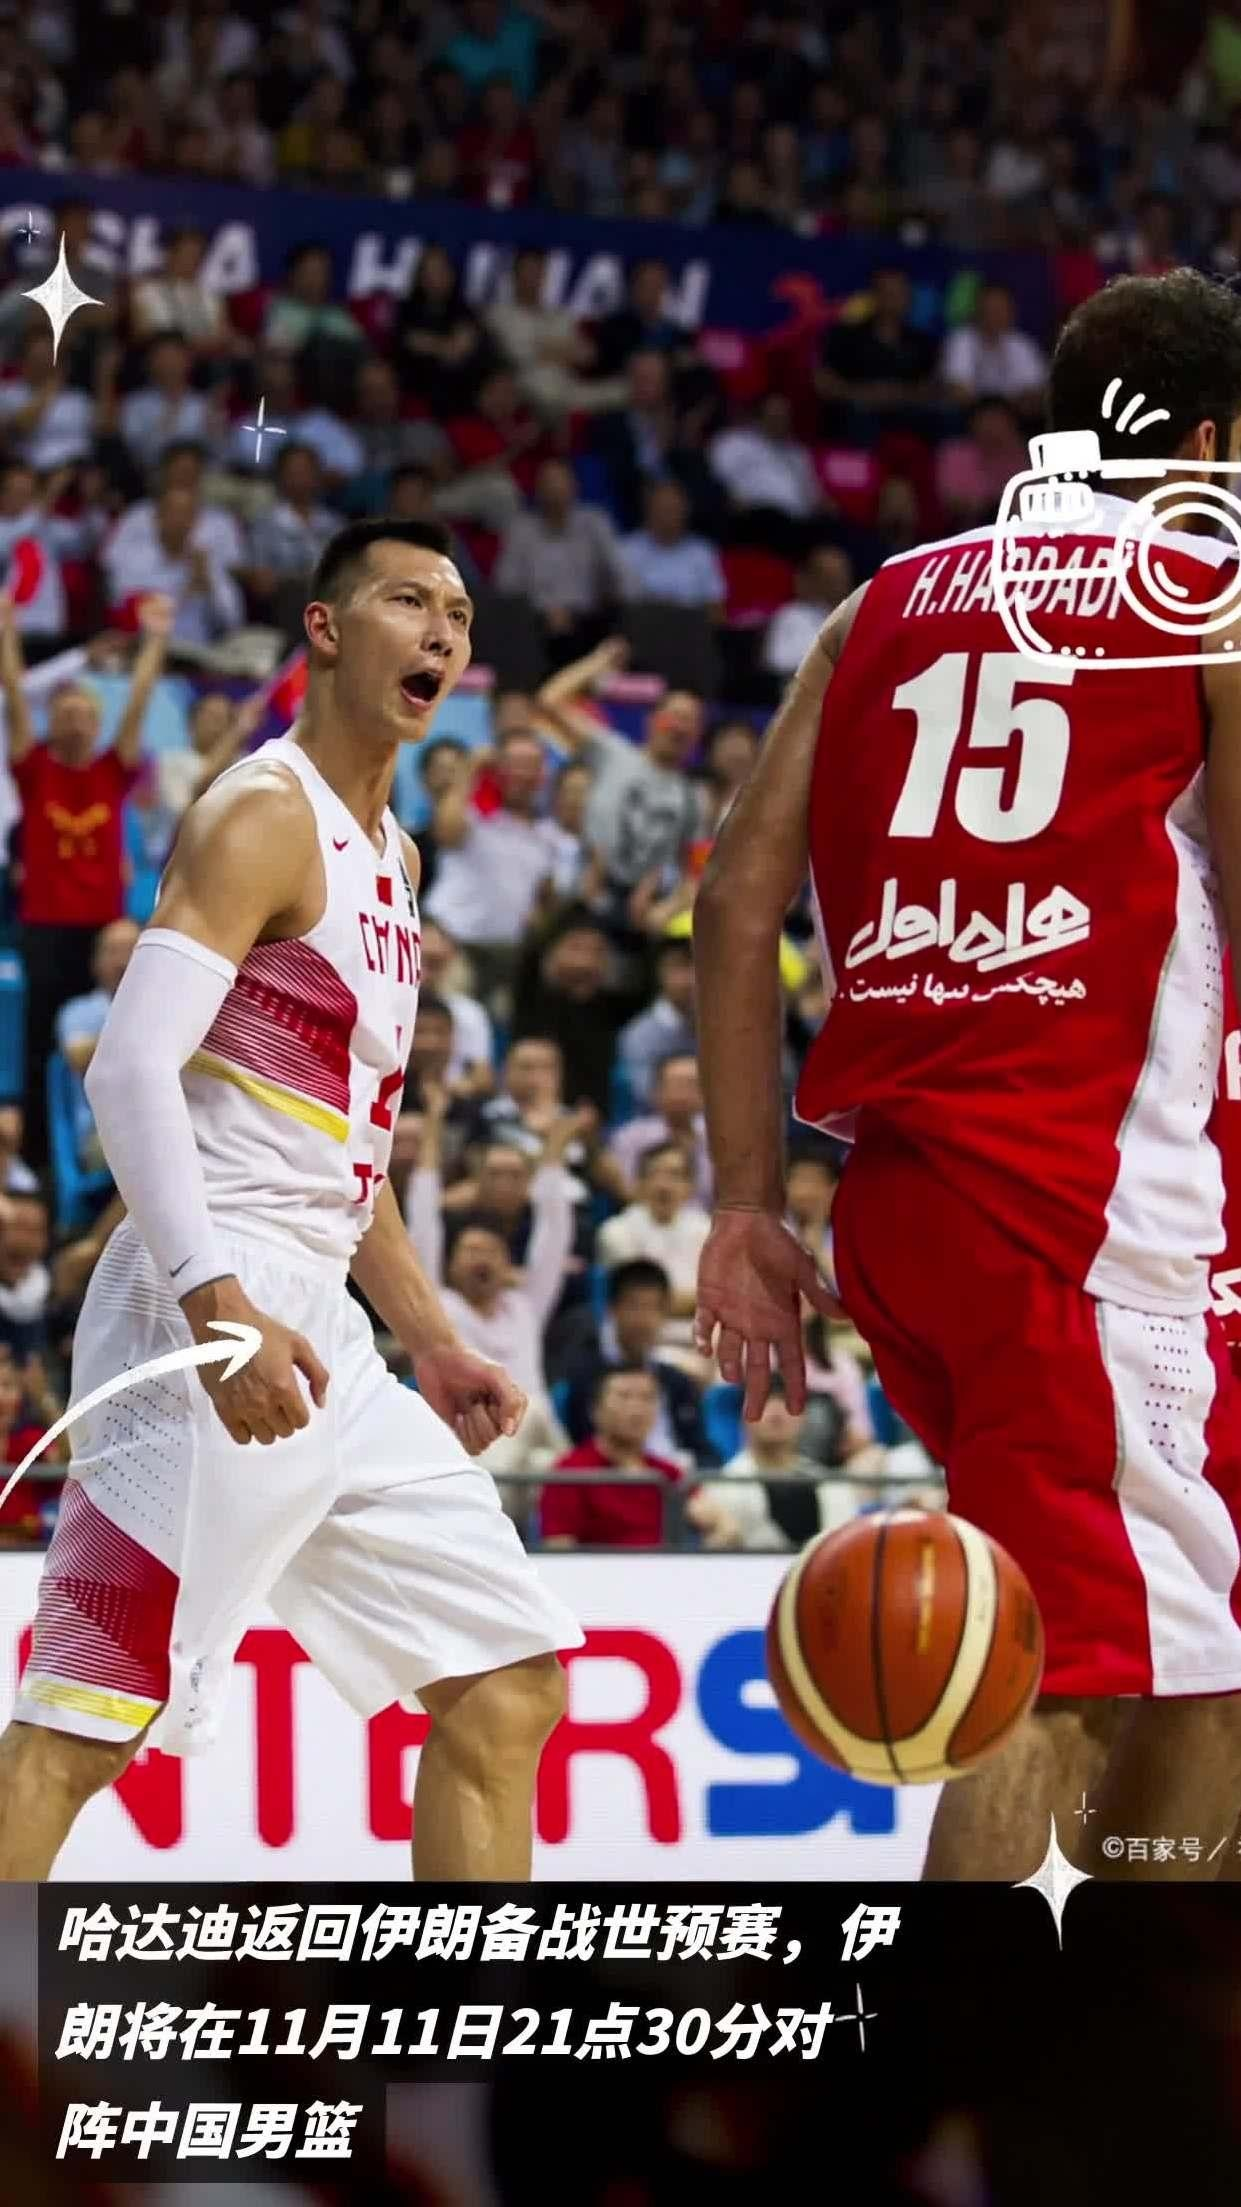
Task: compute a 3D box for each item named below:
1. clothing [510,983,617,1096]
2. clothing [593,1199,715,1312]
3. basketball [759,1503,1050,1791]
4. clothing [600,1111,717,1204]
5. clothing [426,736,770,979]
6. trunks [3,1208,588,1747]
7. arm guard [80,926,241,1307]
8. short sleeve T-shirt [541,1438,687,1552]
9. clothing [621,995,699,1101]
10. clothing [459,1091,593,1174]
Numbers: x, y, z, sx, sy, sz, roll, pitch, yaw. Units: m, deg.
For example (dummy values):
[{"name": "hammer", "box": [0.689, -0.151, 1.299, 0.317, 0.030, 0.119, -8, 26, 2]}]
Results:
[{"name": "clothing", "box": [-0.185, -0.201, 6.704, 0.286, 0.279, 0.504, 2, 56, -4]}, {"name": "clothing", "box": [0.086, 0.455, 6.050, 0.318, 0.179, 0.476, 1, 19, 3]}, {"name": "basketball", "box": [0.193, 0.363, 1.414, 0.191, 0.192, 0.205, -18, -15, 38]}, {"name": "clothing", "box": [0.110, 0.122, 6.364, 0.249, 0.114, 0.315, -4, 57, 9]}, {"name": "clothing", "box": [-0.164, -0.749, 6.250, 1.316, 0.417, 0.400, -1, 3, -42]}, {"name": "trunks", "box": [-0.389, 0.482, 2.468, 0.414, 0.710, 0.801, -27, -20, 34]}, {"name": "arm guard", "box": [-0.426, 0.007, 1.867, 0.142, 0.308, 0.215, -4, 20, -11]}, {"name": "short sleeve T-shirt", "box": [-0.016, 0.772, 4.056, 0.381, 0.253, 0.199, 2, 1, -1]}, {"name": "clothing", "box": [0.104, -0.175, 6.705, 0.246, 0.304, 0.310, -4, 20, -12]}, {"name": "clothing", "box": [-0.285, 0.102, 6.275, 0.410, 0.154, 0.383, -2, 19, -6]}]
